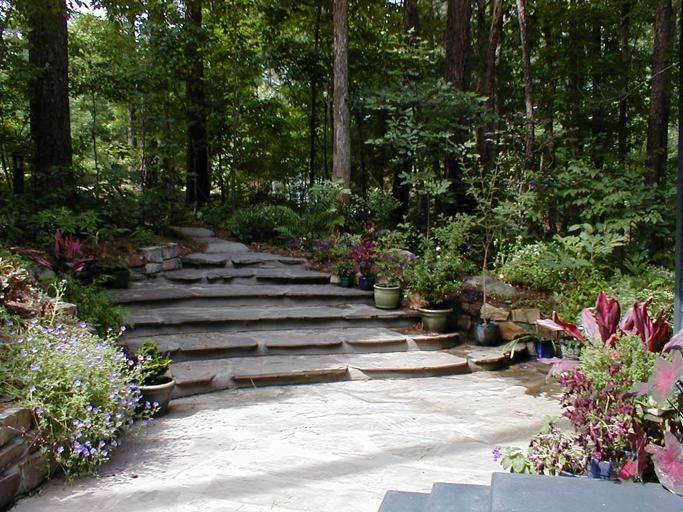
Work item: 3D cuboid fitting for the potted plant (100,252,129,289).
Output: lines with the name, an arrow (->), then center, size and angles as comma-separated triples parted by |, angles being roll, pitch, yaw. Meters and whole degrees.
potted plant -> -3.886, 0.282, 8.858 | 0.400, 0.509, 0.745 | -3, 11, -24

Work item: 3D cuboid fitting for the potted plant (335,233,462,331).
potted plant -> 1.040, 0.472, 8.776 | 1.909, 0.863, 1.345 | 8, 5, 36

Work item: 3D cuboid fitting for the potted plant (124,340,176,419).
potted plant -> -1.946, 1.308, 5.293 | 0.435, 0.780, 0.828 | -3, 11, -23
